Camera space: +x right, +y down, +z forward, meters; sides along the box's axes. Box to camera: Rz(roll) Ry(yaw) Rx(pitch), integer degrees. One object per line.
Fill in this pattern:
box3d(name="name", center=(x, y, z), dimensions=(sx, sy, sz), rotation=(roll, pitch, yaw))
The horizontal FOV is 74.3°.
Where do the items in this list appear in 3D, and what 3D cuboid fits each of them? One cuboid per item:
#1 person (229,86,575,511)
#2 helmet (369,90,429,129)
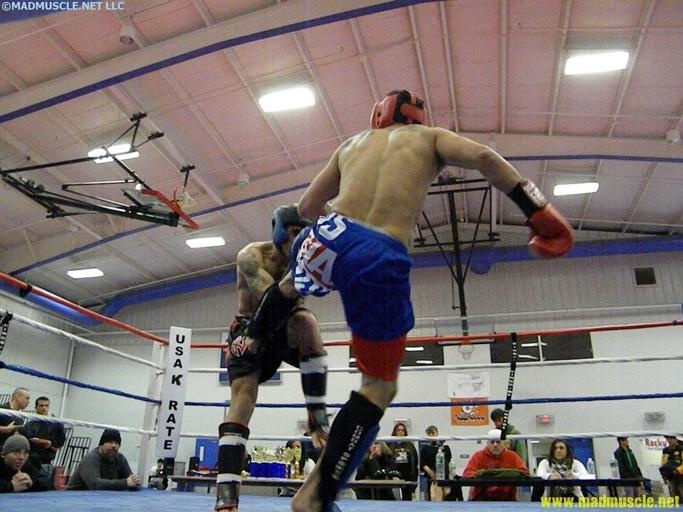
box3d(name="person", center=(0.230, 0.140, 1.529), dimensions=(0.903, 1.333, 0.332), rotation=(0, -23, 7))
box3d(name="helmet", center=(0.240, -0.598, 1.865), dimensions=(0.218, 0.155, 0.160), rotation=(7, 2, -26))
